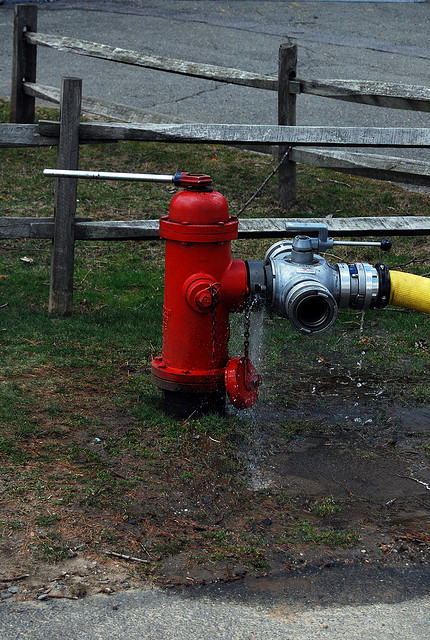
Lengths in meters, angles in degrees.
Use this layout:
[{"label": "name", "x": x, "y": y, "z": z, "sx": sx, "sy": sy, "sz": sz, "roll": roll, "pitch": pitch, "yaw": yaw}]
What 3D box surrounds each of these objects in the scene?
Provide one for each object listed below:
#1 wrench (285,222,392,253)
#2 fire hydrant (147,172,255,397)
[{"label": "wrench", "x": 0.619, "y": -0.423, "z": 4.837, "sx": 0.610, "sy": 0.154, "sz": 0.392, "roll": 2, "pitch": 5, "yaw": -15}, {"label": "fire hydrant", "x": -0.050, "y": -0.157, "z": 4.608, "sx": 0.483, "sy": 1.088, "sz": 0.322, "roll": 3, "pitch": 6, "yaw": -4}]
